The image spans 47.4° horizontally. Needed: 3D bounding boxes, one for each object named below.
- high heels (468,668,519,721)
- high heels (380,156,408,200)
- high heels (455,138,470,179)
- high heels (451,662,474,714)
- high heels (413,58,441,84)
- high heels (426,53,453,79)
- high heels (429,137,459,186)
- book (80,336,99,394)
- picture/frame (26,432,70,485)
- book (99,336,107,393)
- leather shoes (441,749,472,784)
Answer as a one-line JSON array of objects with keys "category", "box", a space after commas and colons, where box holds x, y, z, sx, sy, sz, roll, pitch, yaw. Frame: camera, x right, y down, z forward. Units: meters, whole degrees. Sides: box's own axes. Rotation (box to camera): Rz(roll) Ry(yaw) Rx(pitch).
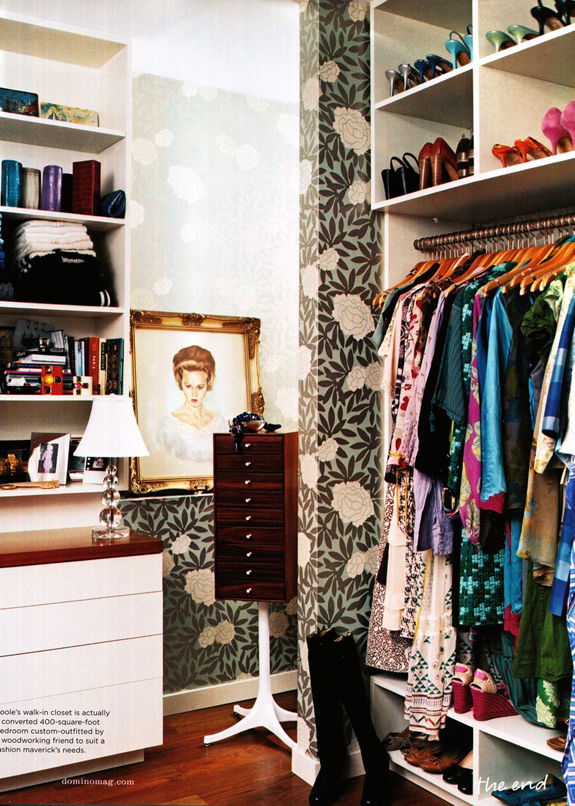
[{"category": "high heels", "box": [0.542, 0.782, 1.752, 0.078, 0.111, 0.157, -1, -1, 37]}, {"category": "high heels", "box": [0.358, -0.752, 2.183, 0.083, 0.158, 0.156, 1, 10, 15]}, {"category": "high heels", "box": [0.532, -0.736, 1.975, 0.040, 0.123, 0.060, 1, 2, 14]}, {"category": "high heels", "box": [0.483, 0.799, 1.813, 0.044, 0.055, 0.139, 0, 2, 10]}, {"category": "high heels", "box": [0.432, -1.038, 2.045, 0.056, 0.109, 0.046, -8, -35, 19]}, {"category": "high heels", "box": [0.470, -1.045, 2.039, 0.049, 0.061, 0.152, -15, 13, 8]}, {"category": "high heels", "box": [0.486, -0.733, 2.013, 0.086, 0.165, 0.119, 1, 2, 11]}, {"category": "book", "box": [-0.777, -0.138, 2.559, 0.076, 0.201, 0.209, -1, 2, -17]}, {"category": "picture/frame", "box": [-0.909, 0.216, 2.471, 0.195, 0.265, 0.019, 1, -23, -8]}, {"category": "book", "box": [-0.733, -0.143, 2.585, 0.028, 0.271, 0.202, -1, 2, -13]}, {"category": "leather shoes", "box": [0.488, 1.054, 1.872, 0.082, 0.049, 0.201, 2, 3, 16]}]
